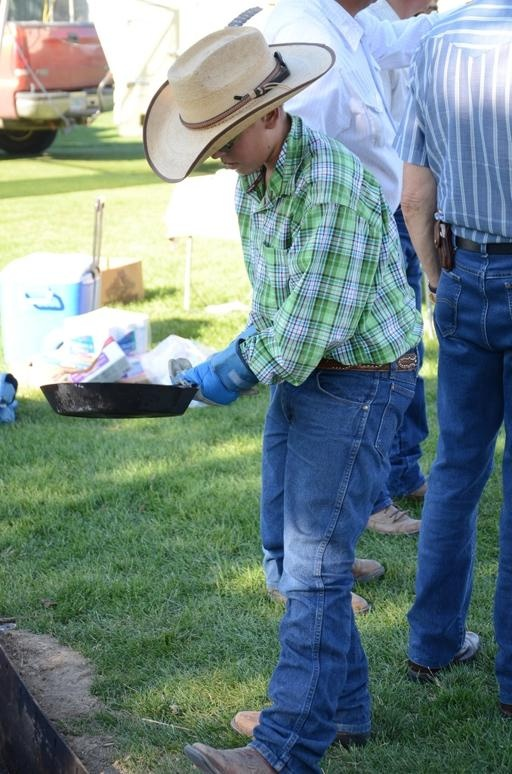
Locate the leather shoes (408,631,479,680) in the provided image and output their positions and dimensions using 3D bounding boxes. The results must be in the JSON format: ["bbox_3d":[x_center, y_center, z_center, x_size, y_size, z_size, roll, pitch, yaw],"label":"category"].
[{"bbox_3d":[0.540,0.783,2.522,0.091,0.100,0.274,17,30,42],"label":"leather shoes"}]

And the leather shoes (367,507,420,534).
[{"bbox_3d":[0.524,0.528,3.418,0.230,0.078,0.090,-2,2,28],"label":"leather shoes"}]

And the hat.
[{"bbox_3d":[-0.077,-0.623,1.856,0.465,0.184,0.373,-40,31,-3],"label":"hat"}]
